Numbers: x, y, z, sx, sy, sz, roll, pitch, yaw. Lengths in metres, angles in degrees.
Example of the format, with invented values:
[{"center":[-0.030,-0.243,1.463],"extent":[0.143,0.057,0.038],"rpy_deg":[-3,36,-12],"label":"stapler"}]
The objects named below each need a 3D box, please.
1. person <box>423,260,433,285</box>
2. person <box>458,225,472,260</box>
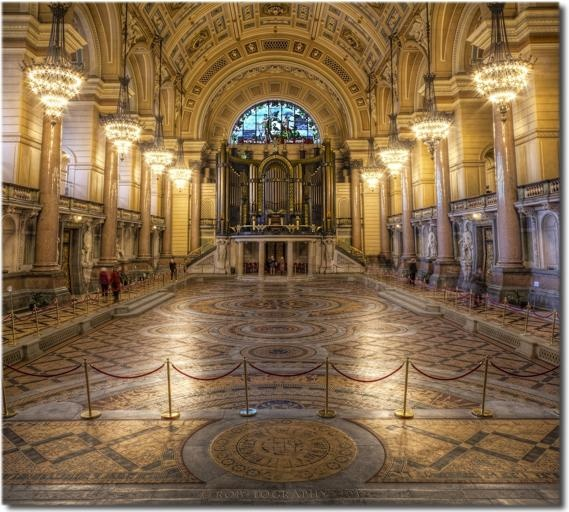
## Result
[{"center":[6.034,0.590,18.384],"extent":[0.368,0.887,1.617],"rpy_deg":[2,7,18],"label":"person"},{"center":[6.661,-0.526,16.129],"extent":[0.427,1.344,1.174],"rpy_deg":[2,7,20],"label":"person"}]
